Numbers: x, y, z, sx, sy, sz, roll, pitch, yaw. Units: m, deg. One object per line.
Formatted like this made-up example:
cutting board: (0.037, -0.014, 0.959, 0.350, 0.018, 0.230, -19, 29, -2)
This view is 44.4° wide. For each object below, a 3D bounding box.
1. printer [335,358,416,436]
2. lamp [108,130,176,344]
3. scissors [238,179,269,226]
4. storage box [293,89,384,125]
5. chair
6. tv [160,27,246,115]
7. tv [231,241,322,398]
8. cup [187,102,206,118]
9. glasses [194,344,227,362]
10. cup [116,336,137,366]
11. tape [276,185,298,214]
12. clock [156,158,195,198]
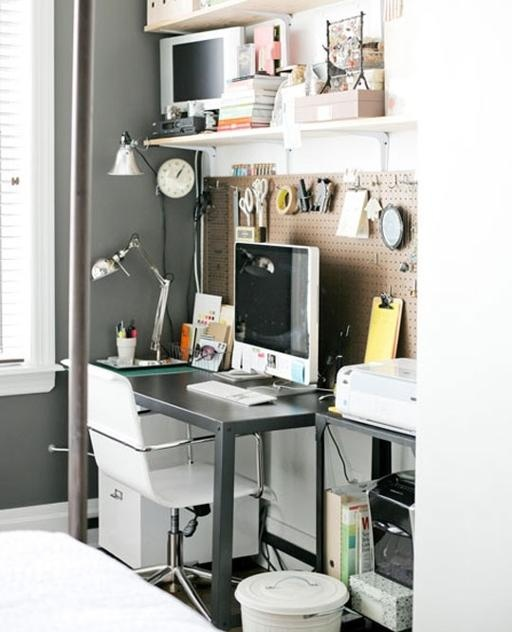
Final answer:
printer: (0.359, 0.225, 1.773, 0.193, 0.091, 0.179, -2, 4, -44)
lamp: (-0.572, -0.348, 3.085, 0.294, 1.088, 0.303, 0, 8, -9)
scissors: (-0.026, -0.504, 2.844, 0.023, 0.238, 0.115, 4, -1, -38)
storage box: (0.249, -0.684, 2.059, 0.329, 0.096, 0.130, 10, 12, 42)
chair: (-0.445, 0.544, 2.739, 0.872, 1.238, 0.866, -1, 4, -27)
tv: (-0.232, -1.122, 2.862, 0.248, 0.420, 0.488, -4, 10, -39)
tv: (0.091, 0.022, 2.460, 0.193, 0.602, 0.556, 0, 2, -32)
cup: (-0.277, -0.947, 2.866, 0.086, 0.070, 0.032, 2, 4, 30)
glasses: (-0.217, 0.155, 2.849, 0.106, 0.085, 0.031, -1, -10, 37)
cup: (-0.629, 0.165, 3.013, 0.111, 0.168, 0.110, 0, -6, 0)
tape: (0.133, -0.496, 2.673, 0.033, 0.112, 0.105, 3, 2, -24)
clock: (-0.412, -0.695, 3.175, 0.180, 0.196, 0.043, 4, 6, -28)
